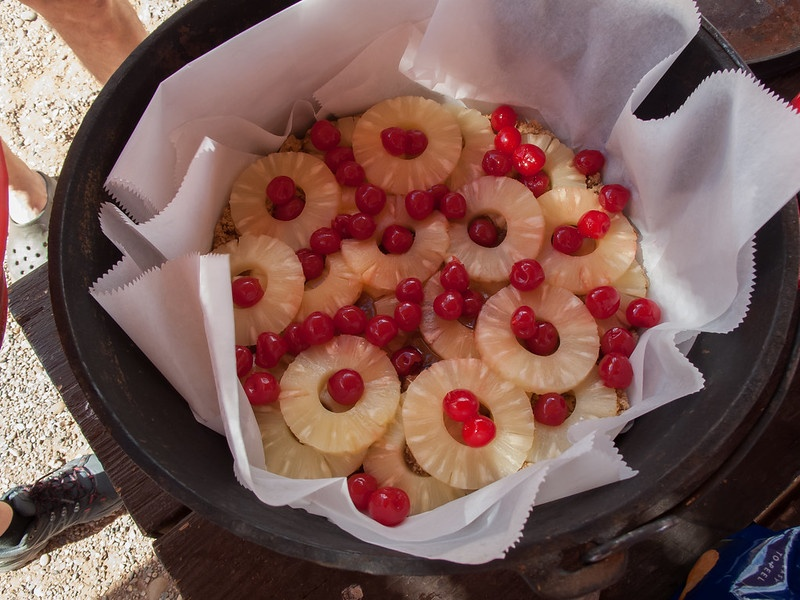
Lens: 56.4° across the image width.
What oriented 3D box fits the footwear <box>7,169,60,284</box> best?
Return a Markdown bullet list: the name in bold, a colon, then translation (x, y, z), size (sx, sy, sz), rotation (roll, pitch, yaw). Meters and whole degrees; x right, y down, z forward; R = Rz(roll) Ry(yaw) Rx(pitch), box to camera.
- **footwear**: translation (-0.992, -0.194, 2.005), size (0.103, 0.126, 0.349), rotation (3, 92, 6)
